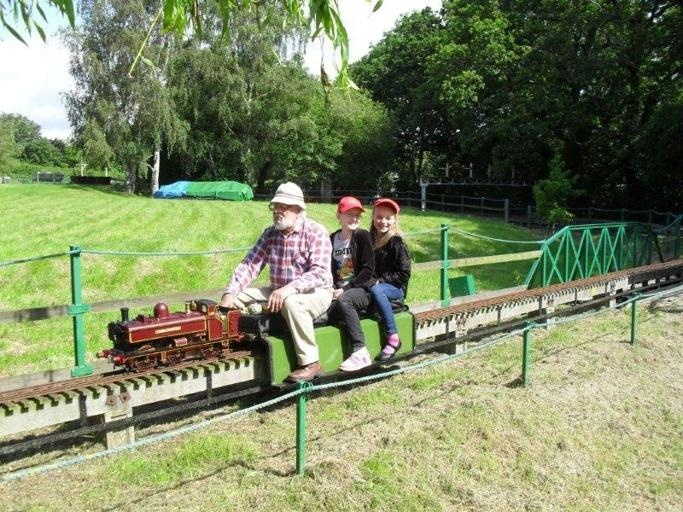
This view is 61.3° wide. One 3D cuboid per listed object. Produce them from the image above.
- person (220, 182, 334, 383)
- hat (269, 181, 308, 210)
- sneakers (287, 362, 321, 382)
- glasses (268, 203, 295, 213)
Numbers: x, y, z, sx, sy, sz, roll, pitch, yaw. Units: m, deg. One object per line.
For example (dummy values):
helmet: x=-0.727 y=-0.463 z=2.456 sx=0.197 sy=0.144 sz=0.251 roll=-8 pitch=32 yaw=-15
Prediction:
person: x=-0.688 y=0.242 z=6.674 sx=1.132 sy=2.101 sz=0.817 roll=6 pitch=14 yaw=16
hat: x=-0.588 y=-0.666 z=6.685 sx=0.270 sy=0.221 sz=0.350 roll=0 pitch=-7 yaw=27
sneakers: x=-0.410 y=1.318 z=6.563 sx=0.389 sy=0.186 sz=0.152 roll=0 pitch=0 yaw=-41
glasses: x=-0.676 y=-0.564 z=6.687 sx=0.201 sy=0.062 sz=0.217 roll=1 pitch=-1 yaw=37
